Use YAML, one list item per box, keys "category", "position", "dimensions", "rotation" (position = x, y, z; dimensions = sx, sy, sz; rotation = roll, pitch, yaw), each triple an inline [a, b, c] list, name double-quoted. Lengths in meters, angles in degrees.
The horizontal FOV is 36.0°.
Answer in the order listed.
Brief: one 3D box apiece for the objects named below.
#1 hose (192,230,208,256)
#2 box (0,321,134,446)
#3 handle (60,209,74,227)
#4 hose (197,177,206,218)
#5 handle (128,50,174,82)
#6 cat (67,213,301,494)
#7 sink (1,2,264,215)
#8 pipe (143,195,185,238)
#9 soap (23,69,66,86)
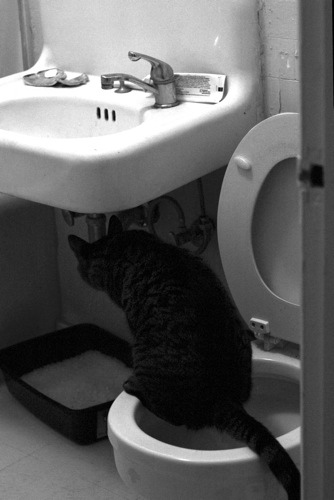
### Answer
- category: "hose"
  position: [0.083, -0.012, 1.262]
  dimensions: [0.010, 0.054, 0.055]
  rotation: [0, 57, -12]
- category: "box"
  position: [-0.328, 0.404, 1.595]
  dimensions: [0.350, 0.140, 0.441]
  rotation: [-20, 30, -40]
- category: "handle"
  position: [-0.249, -0.088, 1.317]
  dimensions: [0.012, 0.051, 0.029]
  rotation: [-15, -10, -37]
- category: "hose"
  position: [0.087, -0.138, 1.290]
  dimensions: [0.019, 0.095, 0.094]
  rotation: [-1, 16, 4]
- category: "handle"
  position: [-0.041, -0.409, 1.152]
  dimensions: [0.128, 0.047, 0.040]
  rotation: [2, 13, -43]
- category: "cat"
  position: [0.026, 0.174, 0.988]
  dimensions: [0.181, 0.231, 0.614]
  rotation: [-24, 50, -19]
- category: "sink"
  position: [-0.056, -0.321, 1.162]
  dimensions: [0.446, 0.316, 0.321]
  rotation: [26, 48, 37]
- category: "pipe"
  position: [0.000, -0.088, 1.264]
  dimensions: [0.104, 0.103, 0.071]
  rotation: [-11, 19, -28]
- category: "soap"
  position: [-0.349, -0.489, 1.454]
  dimensions: [0.151, 0.048, 0.082]
  rotation: [12, 21, 39]
